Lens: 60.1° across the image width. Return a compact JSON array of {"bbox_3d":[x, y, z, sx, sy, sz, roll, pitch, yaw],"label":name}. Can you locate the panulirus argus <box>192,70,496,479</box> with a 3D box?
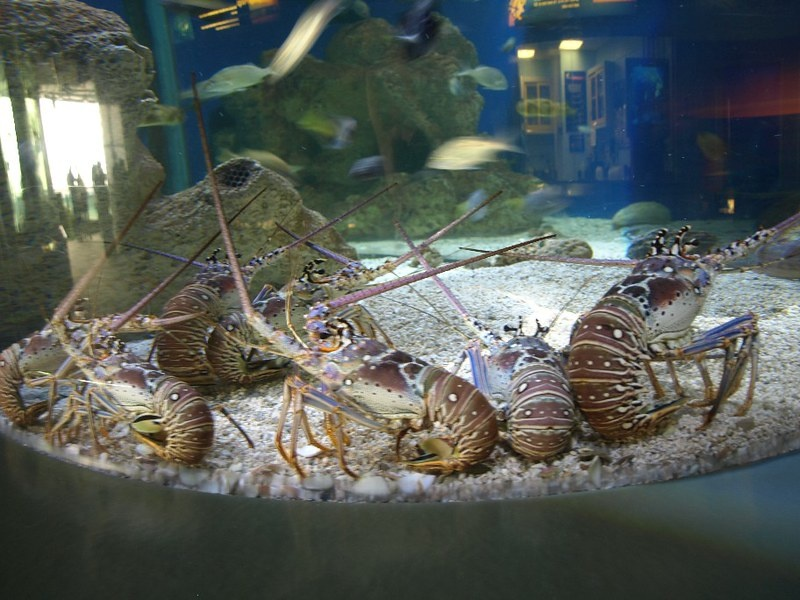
[{"bbox_3d":[-0.219,-0.036,3.443,1.304,1.852,0.612,-4,18,3],"label":"panulirus argus"}]
